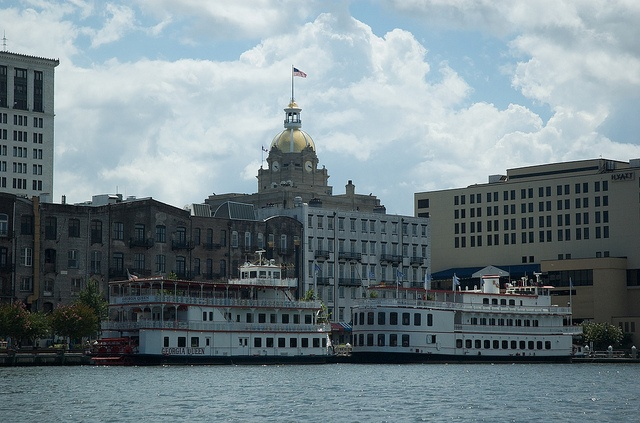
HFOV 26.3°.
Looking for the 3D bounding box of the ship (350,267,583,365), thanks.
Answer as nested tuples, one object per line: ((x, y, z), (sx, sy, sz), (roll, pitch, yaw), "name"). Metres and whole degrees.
((20.680, 16.242, 207.948), (39.785, 14.553, 12.126), (5, -8, -31), "ship")

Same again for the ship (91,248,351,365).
((-14.170, 14.672, 202.231), (38.795, 18.143, 13.308), (1, -2, -30), "ship")
